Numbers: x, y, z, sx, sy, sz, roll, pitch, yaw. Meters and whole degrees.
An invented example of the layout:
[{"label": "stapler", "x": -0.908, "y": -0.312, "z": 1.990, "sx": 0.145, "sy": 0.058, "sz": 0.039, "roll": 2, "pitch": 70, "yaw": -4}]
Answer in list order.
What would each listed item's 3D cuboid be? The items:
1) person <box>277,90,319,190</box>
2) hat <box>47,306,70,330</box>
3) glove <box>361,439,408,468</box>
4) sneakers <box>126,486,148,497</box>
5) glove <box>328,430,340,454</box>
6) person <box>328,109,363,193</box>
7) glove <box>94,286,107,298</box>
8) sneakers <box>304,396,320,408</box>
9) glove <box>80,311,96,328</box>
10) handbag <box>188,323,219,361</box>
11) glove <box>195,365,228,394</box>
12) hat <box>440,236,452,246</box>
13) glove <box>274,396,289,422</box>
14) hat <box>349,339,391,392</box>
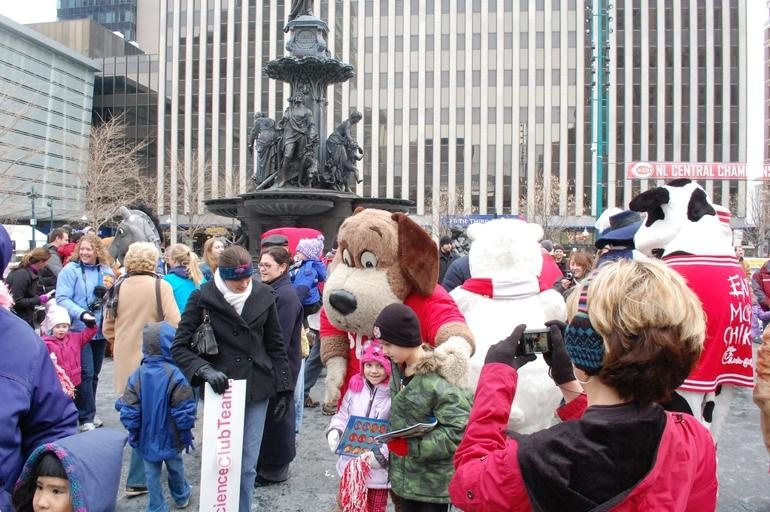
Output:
[{"label": "person", "x": -2.021, "y": -2.703, "z": 18.604, "sx": 0.901, "sy": 1.889, "sz": 0.498, "roll": 2, "pitch": -1, "yaw": -6}, {"label": "hat", "x": -4.376, "y": 0.814, "z": 10.566, "sx": 0.317, "sy": 0.272, "sz": 0.242, "roll": 2, "pitch": 3, "yaw": 33}, {"label": "glove", "x": 0.009, "y": 2.078, "z": 8.346, "sx": 0.438, "sy": 0.163, "sz": 0.331, "roll": -28, "pitch": 12, "yaw": 49}, {"label": "sneakers", "x": -3.039, "y": 2.877, "z": 9.678, "sx": 0.328, "sy": 0.154, "sz": 0.121, "roll": 1, "pitch": -2, "yaw": -14}, {"label": "glove", "x": -0.562, "y": 1.991, "z": 8.561, "sx": 0.101, "sy": 0.216, "sz": 0.179, "roll": 3, "pitch": -1, "yaw": -35}, {"label": "person", "x": -0.985, "y": -2.552, "z": 19.431, "sx": 0.961, "sy": 1.971, "sz": 0.796, "roll": 3, "pitch": 3, "yaw": -1}, {"label": "glove", "x": -4.124, "y": 0.545, "z": 11.587, "sx": 0.237, "sy": 0.213, "sz": 0.209, "roll": 0, "pitch": 8, "yaw": -16}, {"label": "sneakers", "x": -1.119, "y": 2.252, "z": 12.148, "sx": 0.279, "sy": 0.124, "sz": 0.097, "roll": 1, "pitch": -2, "yaw": 0}, {"label": "glove", "x": -4.105, "y": 0.882, "z": 11.069, "sx": 0.221, "sy": 0.216, "sz": 0.176, "roll": 12, "pitch": 23, "yaw": 30}, {"label": "handbag", "x": -2.065, "y": 0.933, "z": 9.168, "sx": 0.284, "sy": 0.520, "sz": 0.517, "roll": -7, "pitch": 7, "yaw": -23}, {"label": "glove", "x": -1.908, "y": 1.373, "z": 8.863, "sx": 0.353, "sy": 0.194, "sz": 0.250, "roll": 32, "pitch": 34, "yaw": 16}, {"label": "hat", "x": 1.156, "y": -0.278, "z": 15.043, "sx": 0.183, "sy": 0.163, "sz": 0.194, "roll": -4, "pitch": 2, "yaw": -35}, {"label": "glove", "x": -1.205, "y": 1.779, "z": 9.290, "sx": 0.171, "sy": 0.304, "sz": 0.077, "roll": 5, "pitch": -17, "yaw": 10}, {"label": "hat", "x": -0.099, "y": 1.209, "z": 8.683, "sx": 0.574, "sy": 0.640, "sz": 0.438, "roll": 2, "pitch": 5, "yaw": 3}]
